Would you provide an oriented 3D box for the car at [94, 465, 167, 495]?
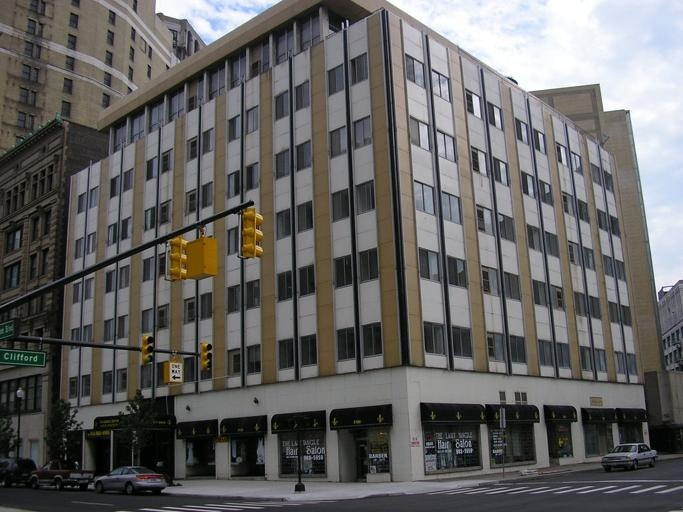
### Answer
[{"bbox_3d":[-14.533,15.482,50.305,5.284,2.059,1.517,-17,-22,29],"label":"car"}]

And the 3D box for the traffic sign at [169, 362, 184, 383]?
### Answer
[{"bbox_3d":[-9.228,6.427,40.501,0.480,1.114,1.380,-6,-19,4],"label":"traffic sign"}]

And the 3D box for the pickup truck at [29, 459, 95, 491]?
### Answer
[{"bbox_3d":[-21.594,16.925,56.279,5.645,2.618,2.252,-18,-23,32],"label":"pickup truck"}]

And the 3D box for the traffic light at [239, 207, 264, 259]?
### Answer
[{"bbox_3d":[-3.701,-0.940,29.436,0.852,1.864,0.721,-5,-6,14],"label":"traffic light"}]
